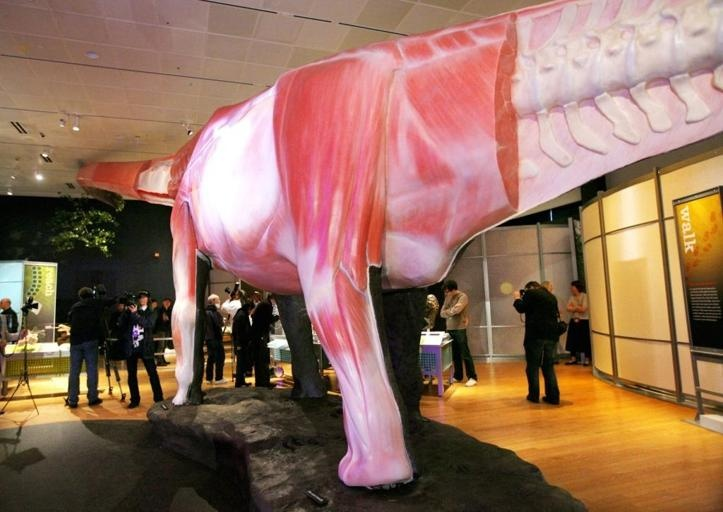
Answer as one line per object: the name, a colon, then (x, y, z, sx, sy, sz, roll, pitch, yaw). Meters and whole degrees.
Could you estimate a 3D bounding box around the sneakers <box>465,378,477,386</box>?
sneakers: (1.618, 1.878, 6.833, 0.159, 0.086, 0.222, -3, 3, 16)

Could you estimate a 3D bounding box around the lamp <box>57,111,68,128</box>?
lamp: (-4.831, -2.238, 7.477, 0.153, 0.283, 0.164, 0, -4, 13)

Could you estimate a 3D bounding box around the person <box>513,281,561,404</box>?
person: (2.286, 1.106, 5.977, 0.509, 1.521, 0.863, -3, 3, 23)

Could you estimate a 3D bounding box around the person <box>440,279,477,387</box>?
person: (1.540, 1.192, 7.310, 0.458, 1.688, 1.171, -3, 3, 12)

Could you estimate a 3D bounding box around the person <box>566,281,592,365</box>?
person: (3.731, 1.223, 7.981, 0.388, 1.579, 1.153, -3, 3, 25)

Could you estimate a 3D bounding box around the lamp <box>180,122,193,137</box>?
lamp: (-3.075, -2.263, 8.135, 0.286, 0.206, 0.469, -13, 17, -11)

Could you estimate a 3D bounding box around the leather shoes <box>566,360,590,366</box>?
leather shoes: (3.923, 1.954, 8.385, 0.388, 0.118, 0.141, 0, -9, 26)
